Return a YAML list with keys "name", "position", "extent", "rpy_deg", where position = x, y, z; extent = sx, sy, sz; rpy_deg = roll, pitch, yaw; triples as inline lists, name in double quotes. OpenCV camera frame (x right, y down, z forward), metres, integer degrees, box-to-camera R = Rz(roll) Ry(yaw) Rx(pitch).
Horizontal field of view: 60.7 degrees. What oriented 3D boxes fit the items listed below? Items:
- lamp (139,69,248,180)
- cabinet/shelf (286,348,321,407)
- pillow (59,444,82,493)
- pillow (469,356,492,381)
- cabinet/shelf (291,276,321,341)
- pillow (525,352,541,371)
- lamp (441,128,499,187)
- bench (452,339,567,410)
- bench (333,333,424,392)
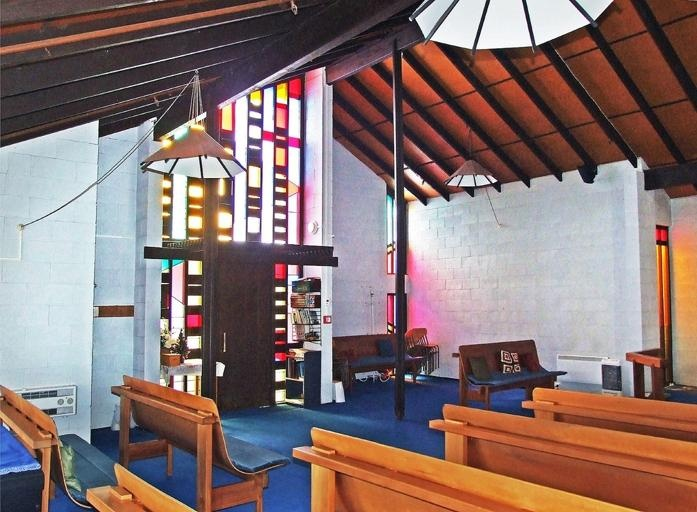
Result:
- name: "lamp"
  position: [-1.862, -1.600, 6.937]
  extent: [1.243, 1.445, 1.179]
  rpy_deg: [0, -11, -15]
- name: "cabinet/shelf"
  position: [-0.992, 2.196, 10.839]
  extent: [0.468, 0.803, 0.381]
  rpy_deg: [8, -11, -16]
- name: "pillow"
  position: [-2.816, 2.121, 5.975]
  extent: [0.112, 0.414, 0.348]
  rpy_deg: [-9, -8, 2]
- name: "pillow"
  position: [2.270, 1.918, 10.230]
  extent: [0.334, 0.377, 0.572]
  rpy_deg: [-4, -6, 7]
- name: "cabinet/shelf"
  position: [-0.784, 1.010, 11.019]
  extent: [0.212, 1.148, 0.655]
  rpy_deg: [2, -9, -44]
- name: "pillow"
  position: [3.429, 1.963, 11.085]
  extent: [0.300, 0.290, 0.074]
  rpy_deg: [-5, -24, -39]
- name: "lamp"
  position: [2.466, -1.957, 11.428]
  extent: [1.147, 1.381, 1.225]
  rpy_deg: [-1, -5, 1]
- name: "bench"
  position: [2.942, 2.159, 10.656]
  extent: [2.175, 1.158, 0.828]
  rpy_deg: [2, -3, -35]
- name: "bench"
  position: [0.513, 2.177, 12.573]
  extent: [2.050, 0.999, 0.709]
  rpy_deg: [3, -3, -43]
